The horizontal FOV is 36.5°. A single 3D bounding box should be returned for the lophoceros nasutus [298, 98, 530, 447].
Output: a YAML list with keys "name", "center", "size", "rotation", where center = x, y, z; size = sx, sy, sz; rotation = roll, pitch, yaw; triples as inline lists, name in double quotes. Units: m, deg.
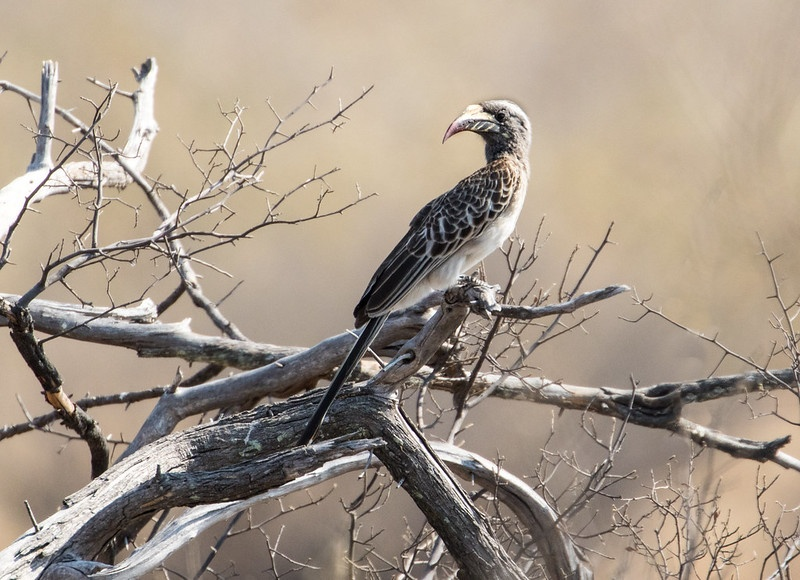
- name: "lophoceros nasutus"
  center: [0.152, -0.185, 10.235]
  size: [2.535, 0.830, 2.758]
  rotation: [-13, 69, -4]
